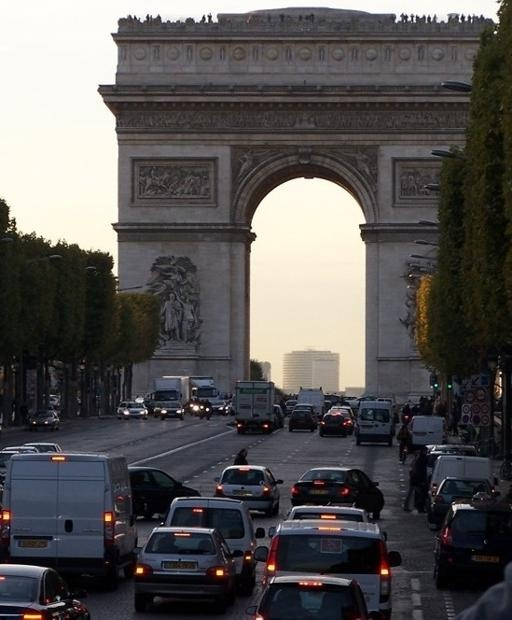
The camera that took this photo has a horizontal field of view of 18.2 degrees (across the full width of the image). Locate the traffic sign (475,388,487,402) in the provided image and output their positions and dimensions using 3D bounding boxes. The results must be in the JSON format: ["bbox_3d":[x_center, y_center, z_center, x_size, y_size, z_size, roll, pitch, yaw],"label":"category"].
[{"bbox_3d":[6.786,2.556,48.537,0.266,0.415,0.103,-4,-10,19],"label":"traffic sign"}]

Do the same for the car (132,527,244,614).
[{"bbox_3d":[-1.034,3.829,23.583,1.515,1.240,0.825,2,-3,-14],"label":"car"}]

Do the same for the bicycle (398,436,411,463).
[{"bbox_3d":[5.149,4.779,55.175,0.378,0.611,0.970,0,-7,4],"label":"bicycle"}]

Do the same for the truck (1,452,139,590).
[{"bbox_3d":[-3.043,3.254,25.468,1.547,1.855,3.630,0,-2,-12],"label":"truck"}]

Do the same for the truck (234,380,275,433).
[{"bbox_3d":[0.015,4.538,76.707,1.406,1.855,2.813,1,0,5],"label":"truck"}]

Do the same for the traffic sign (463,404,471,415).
[{"bbox_3d":[6.402,3.004,48.680,0.274,0.315,0.096,-1,-3,11],"label":"traffic sign"}]

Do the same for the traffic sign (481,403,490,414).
[{"bbox_3d":[6.899,2.964,48.527,0.279,0.420,0.115,0,0,-1],"label":"traffic sign"}]

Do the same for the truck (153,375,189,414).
[{"bbox_3d":[-4.993,4.773,95.092,1.178,1.650,2.831,0,-7,2],"label":"truck"}]

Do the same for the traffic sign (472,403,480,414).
[{"bbox_3d":[6.648,2.950,48.566,0.268,0.308,0.069,-3,4,12],"label":"traffic sign"}]

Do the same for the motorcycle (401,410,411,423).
[{"bbox_3d":[7.221,5.119,77.141,0.489,0.723,0.704,0,-7,3],"label":"motorcycle"}]

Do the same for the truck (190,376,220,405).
[{"bbox_3d":[-3.182,4.876,97.559,2.030,1.603,1.894,0,-4,24],"label":"truck"}]

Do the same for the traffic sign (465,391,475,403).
[{"bbox_3d":[6.473,2.623,48.608,0.208,0.322,0.072,-3,-9,17],"label":"traffic sign"}]

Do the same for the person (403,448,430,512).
[{"bbox_3d":[3.906,4.166,39.204,0.567,1.503,1.099,1,-3,6],"label":"person"}]

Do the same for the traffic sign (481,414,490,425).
[{"bbox_3d":[6.915,3.320,48.603,0.267,0.280,0.398,1,-3,4],"label":"traffic sign"}]
